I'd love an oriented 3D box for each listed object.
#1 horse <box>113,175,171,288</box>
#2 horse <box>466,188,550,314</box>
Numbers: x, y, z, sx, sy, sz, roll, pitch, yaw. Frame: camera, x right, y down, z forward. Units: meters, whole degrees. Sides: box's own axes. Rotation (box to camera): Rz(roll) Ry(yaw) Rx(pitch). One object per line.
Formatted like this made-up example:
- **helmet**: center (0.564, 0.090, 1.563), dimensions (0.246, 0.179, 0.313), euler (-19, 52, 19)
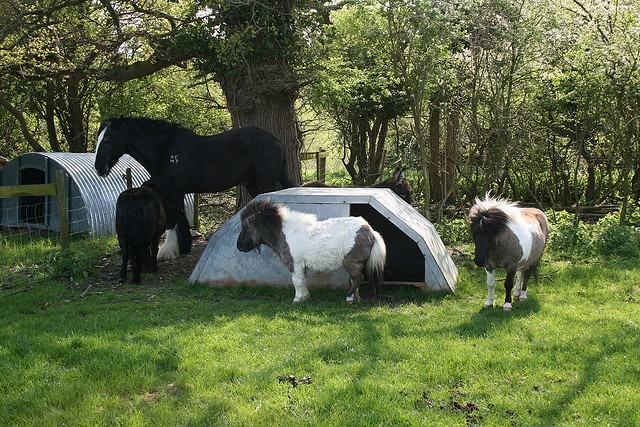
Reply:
- **horse**: center (-4.146, 0.376, 12.583), dimensions (1.129, 2.460, 0.524), euler (0, 1, -23)
- **horse**: center (3.899, 0.804, 11.229), dimensions (1.887, 2.272, 0.775), euler (0, 1, -37)
